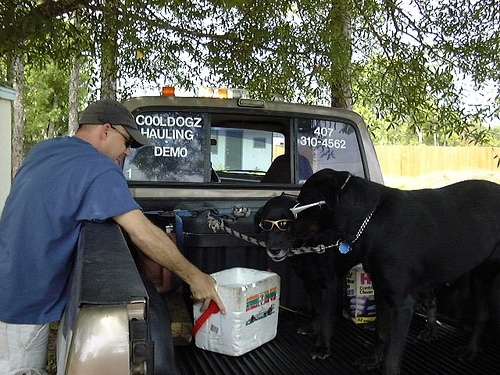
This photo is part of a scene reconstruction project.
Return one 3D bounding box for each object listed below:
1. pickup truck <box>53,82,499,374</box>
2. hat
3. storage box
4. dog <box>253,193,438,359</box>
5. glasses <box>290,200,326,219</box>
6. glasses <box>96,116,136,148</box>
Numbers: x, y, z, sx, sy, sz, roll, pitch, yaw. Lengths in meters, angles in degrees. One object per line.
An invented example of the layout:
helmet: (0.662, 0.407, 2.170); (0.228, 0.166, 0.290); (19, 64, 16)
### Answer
pickup truck: (-0.161, 0.016, 2.982); (1.463, 1.378, 2.663); (0, -1, -8)
hat: (-0.911, -0.426, 2.870); (0.410, 0.234, 0.269); (9, -2, -30)
storage box: (-0.074, 0.867, 3.011); (0.419, 0.472, 0.575); (-1, 1, 30)
dog: (0.760, 0.539, 3.130); (1.373, 1.077, 0.454); (-6, 8, -11)
glasses: (0.356, 0.124, 2.607); (0.161, 0.082, 0.094); (-27, 21, 19)
glasses: (-0.844, -0.365, 2.822); (0.150, 0.041, 0.150); (44, 9, 26)
